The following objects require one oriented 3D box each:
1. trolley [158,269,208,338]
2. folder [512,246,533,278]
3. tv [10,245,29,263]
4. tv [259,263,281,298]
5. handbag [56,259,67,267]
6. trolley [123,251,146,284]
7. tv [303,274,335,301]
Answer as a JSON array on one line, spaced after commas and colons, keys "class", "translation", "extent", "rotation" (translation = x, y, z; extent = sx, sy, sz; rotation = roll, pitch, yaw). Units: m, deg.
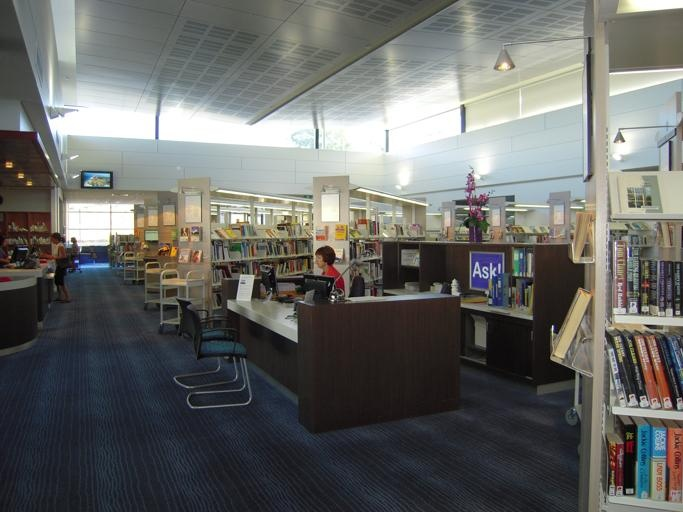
[{"class": "trolley", "translation": [-2.618, 0.723, 8.403], "extent": [0.582, 0.964, 0.561], "rotation": [1, 1, 25]}, {"class": "folder", "translation": [2.117, 0.060, 6.010], "extent": [0.367, 0.377, 0.276], "rotation": [0, 4, -4]}, {"class": "tv", "translation": [-7.424, -0.045, 11.731], "extent": [0.298, 0.531, 0.291], "rotation": [4, 35, -47]}, {"class": "tv", "translation": [-0.983, 0.344, 6.832], "extent": [0.134, 0.367, 0.357], "rotation": [-14, 17, -28]}, {"class": "handbag", "translation": [-6.317, 0.156, 11.467], "extent": [0.157, 0.210, 0.112], "rotation": [-5, 11, -43]}, {"class": "trolley", "translation": [-6.619, 0.398, 16.232], "extent": [0.530, 0.930, 0.946], "rotation": [-2, 5, -30]}, {"class": "tv", "translation": [-0.236, 0.387, 5.093], "extent": [0.186, 0.283, 0.388], "rotation": [-6, 10, -44]}]
